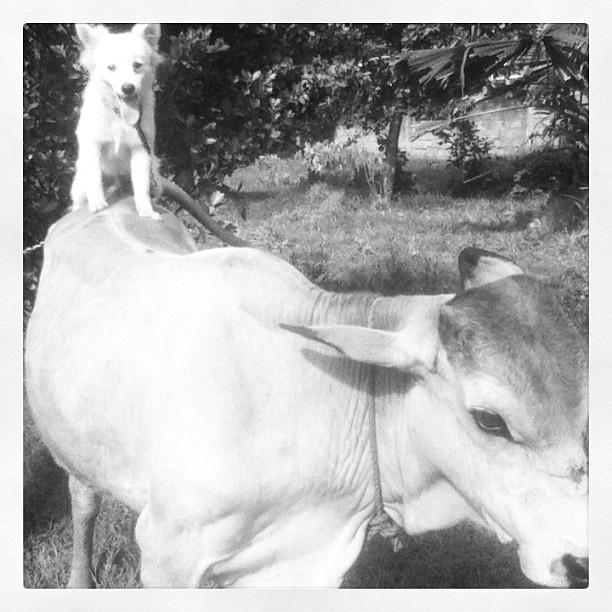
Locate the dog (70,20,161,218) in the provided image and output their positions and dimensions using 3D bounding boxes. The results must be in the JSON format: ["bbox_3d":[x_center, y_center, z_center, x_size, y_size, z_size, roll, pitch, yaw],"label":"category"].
[{"bbox_3d":[-0.896,-0.928,4.982,0.306,0.945,1.092,-3,20,-16],"label":"dog"}]
